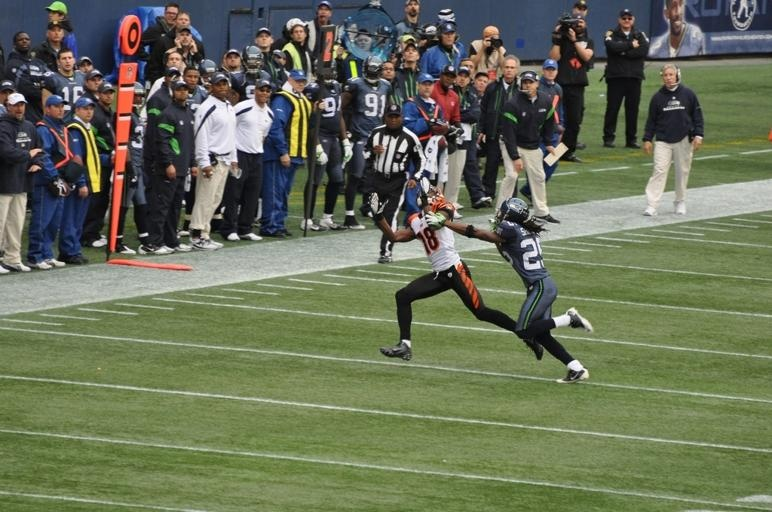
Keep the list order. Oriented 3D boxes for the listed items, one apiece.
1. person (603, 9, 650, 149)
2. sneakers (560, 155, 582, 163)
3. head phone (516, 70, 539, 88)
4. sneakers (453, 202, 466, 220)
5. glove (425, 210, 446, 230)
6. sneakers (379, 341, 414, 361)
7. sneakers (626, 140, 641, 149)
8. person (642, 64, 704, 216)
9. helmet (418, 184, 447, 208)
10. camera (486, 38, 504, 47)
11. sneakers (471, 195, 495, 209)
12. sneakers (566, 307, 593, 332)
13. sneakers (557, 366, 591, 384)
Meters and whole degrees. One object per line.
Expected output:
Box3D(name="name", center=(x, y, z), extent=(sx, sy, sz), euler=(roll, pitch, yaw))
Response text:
Box3D(name="person", center=(5.424, -4.017, 29.210), extent=(0.959, 3.144, 1.118), euler=(0, 7, 8))
Box3D(name="sneakers", center=(4.045, -2.143, 28.187), extent=(0.502, 0.137, 0.153), euler=(2, 14, 4))
Box3D(name="head phone", center=(2.490, -3.098, 22.430), extent=(0.265, 0.270, 0.323), euler=(1, 6, 16))
Box3D(name="sneakers", center=(1.290, -0.849, 23.188), extent=(0.186, 0.176, 0.474), euler=(-2, 7, -16))
Box3D(name="glove", center=(0.638, -0.453, 16.462), extent=(0.260, 0.217, 0.297), euler=(0, 6, 5))
Box3D(name="sneakers", center=(0.167, 1.233, 16.678), extent=(0.558, 0.216, 0.174), euler=(7, -2, 7))
Box3D(name="sneakers", center=(5.758, -2.591, 29.720), extent=(0.431, 0.194, 0.121), euler=(-4, 37, 3))
Box3D(name="person", center=(5.185, -2.102, 23.358), extent=(1.027, 2.752, 1.022), euler=(0, 7, 10))
Box3D(name="helmet", center=(0.630, -0.784, 16.832), extent=(0.329, 0.304, 0.315), euler=(2, -17, -7))
Box3D(name="camera", center=(2.129, -4.235, 25.522), extent=(0.294, 0.194, 0.428), euler=(0, 6, 8))
Box3D(name="sneakers", center=(1.743, -0.975, 23.574), extent=(0.172, 0.166, 0.462), euler=(4, -9, -33))
Box3D(name="sneakers", center=(2.551, 0.855, 17.016), extent=(0.207, 0.479, 0.168), euler=(-45, 25, 11))
Box3D(name="sneakers", center=(2.367, 1.513, 16.315), extent=(0.397, 0.210, 0.300), euler=(0, 6, 7))
